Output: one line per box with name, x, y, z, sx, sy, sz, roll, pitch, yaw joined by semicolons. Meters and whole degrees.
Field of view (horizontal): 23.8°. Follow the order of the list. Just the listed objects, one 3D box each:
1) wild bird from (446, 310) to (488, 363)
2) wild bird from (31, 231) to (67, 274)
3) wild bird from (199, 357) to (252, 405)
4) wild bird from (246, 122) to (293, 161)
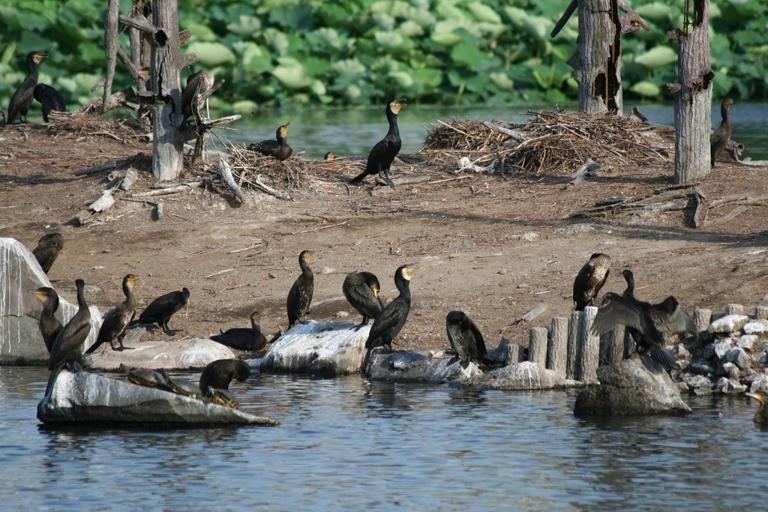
wild bird;1.653;1.604;35.560;0.773;1.042;0.509;-1;1;3
wild bird;-7.074;-0.050;38.287;0.580;0.847;1.218;-1;1;1
wild bird;-2.957;2.400;34.102;0.636;0.872;0.954;0;1;43
wild bird;-2.621;-2.669;42.792;0.615;0.843;1.460;-11;15;-39
